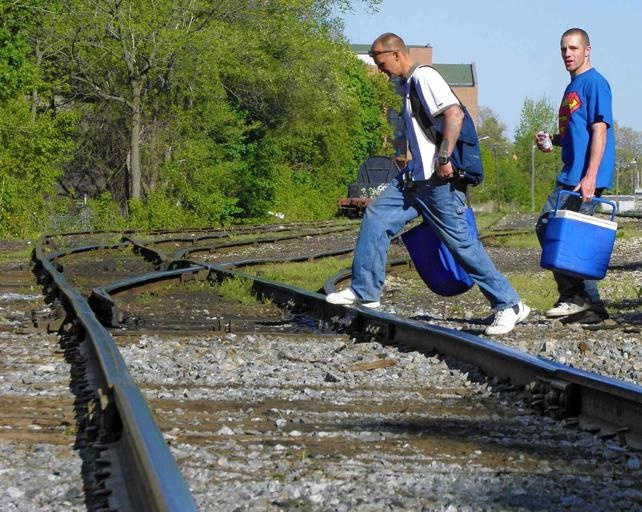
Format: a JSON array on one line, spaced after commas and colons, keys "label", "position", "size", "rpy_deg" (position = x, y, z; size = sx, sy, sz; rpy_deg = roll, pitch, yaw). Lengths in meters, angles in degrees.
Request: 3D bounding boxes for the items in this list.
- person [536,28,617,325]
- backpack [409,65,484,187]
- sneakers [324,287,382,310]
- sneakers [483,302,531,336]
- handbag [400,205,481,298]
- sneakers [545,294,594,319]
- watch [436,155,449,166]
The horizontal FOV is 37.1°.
[{"label": "person", "position": [2.040, -0.627, 7.679], "size": [0.616, 2.354, 0.840], "rpy_deg": [0, 5, 15]}, {"label": "backpack", "position": [1.007, -1.013, 7.386], "size": [0.548, 0.935, 0.407], "rpy_deg": [-5, 6, -37]}, {"label": "sneakers", "position": [0.268, 0.338, 7.871], "size": [0.466, 0.180, 0.164], "rpy_deg": [5, 0, 12]}, {"label": "sneakers", "position": [1.445, 0.484, 7.414], "size": [0.472, 0.189, 0.163], "rpy_deg": [-28, 9, -36]}, {"label": "handbag", "position": [0.987, -0.041, 8.059], "size": [0.724, 0.674, 0.194], "rpy_deg": [-31, -1, 18]}, {"label": "sneakers", "position": [2.058, 0.416, 7.832], "size": [0.444, 0.171, 0.141], "rpy_deg": [-1, -2, -2]}, {"label": "watch", "position": [0.924, -0.717, 7.182], "size": [0.079, 0.067, 0.057], "rpy_deg": [12, -5, -8]}]
